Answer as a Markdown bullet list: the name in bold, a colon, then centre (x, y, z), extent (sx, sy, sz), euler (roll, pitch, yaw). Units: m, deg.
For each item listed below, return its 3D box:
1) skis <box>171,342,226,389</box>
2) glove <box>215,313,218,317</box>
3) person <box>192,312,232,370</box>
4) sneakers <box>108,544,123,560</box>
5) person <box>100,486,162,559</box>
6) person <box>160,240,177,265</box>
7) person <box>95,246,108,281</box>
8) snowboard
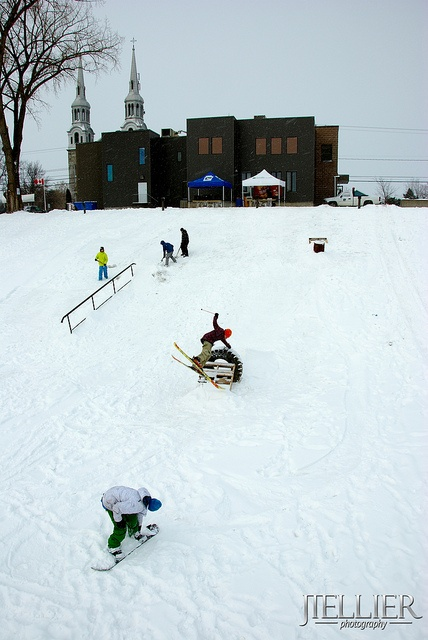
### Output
- **skis**: centre (-0.366, 1.150, 13.634), extent (0.177, 1.233, 0.228), euler (-27, 16, 46)
- **glove**: centre (0.058, -0.104, 13.317), extent (0.075, 0.095, 0.237), euler (-4, 6, 1)
- **person**: centre (0.027, 0.572, 13.036), extent (0.763, 1.292, 1.037), euler (6, 17, 29)
- **sneakers**: centre (-1.247, 2.978, 7.198), extent (0.106, 0.083, 0.232), euler (-44, 50, -10)
- **person**: centre (-1.056, 2.573, 7.308), extent (0.774, 1.041, 0.486), euler (5, 27, 3)
- **person**: centre (-1.738, -2.584, 21.605), extent (0.516, 0.935, 0.936), euler (-3, 15, -4)
- **person**: centre (-4.083, -2.059, 20.530), extent (0.368, 1.236, 1.425), euler (-5, 15, -11)
- **snowboard**: centre (-1.113, 3.014, 7.382), extent (0.265, 0.215, 1.278), euler (0, 5, 27)
